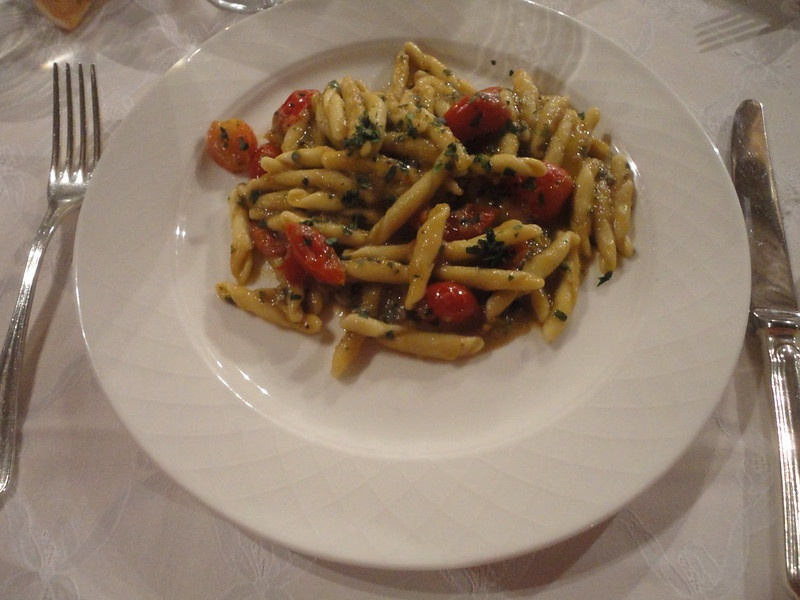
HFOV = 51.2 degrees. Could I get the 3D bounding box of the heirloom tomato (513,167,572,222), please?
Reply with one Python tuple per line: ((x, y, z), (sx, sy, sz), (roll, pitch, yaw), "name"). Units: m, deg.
((0.758, -0.554, 4.404), (0.264, 0.170, 0.280), (-14, 79, -3), "heirloom tomato")
